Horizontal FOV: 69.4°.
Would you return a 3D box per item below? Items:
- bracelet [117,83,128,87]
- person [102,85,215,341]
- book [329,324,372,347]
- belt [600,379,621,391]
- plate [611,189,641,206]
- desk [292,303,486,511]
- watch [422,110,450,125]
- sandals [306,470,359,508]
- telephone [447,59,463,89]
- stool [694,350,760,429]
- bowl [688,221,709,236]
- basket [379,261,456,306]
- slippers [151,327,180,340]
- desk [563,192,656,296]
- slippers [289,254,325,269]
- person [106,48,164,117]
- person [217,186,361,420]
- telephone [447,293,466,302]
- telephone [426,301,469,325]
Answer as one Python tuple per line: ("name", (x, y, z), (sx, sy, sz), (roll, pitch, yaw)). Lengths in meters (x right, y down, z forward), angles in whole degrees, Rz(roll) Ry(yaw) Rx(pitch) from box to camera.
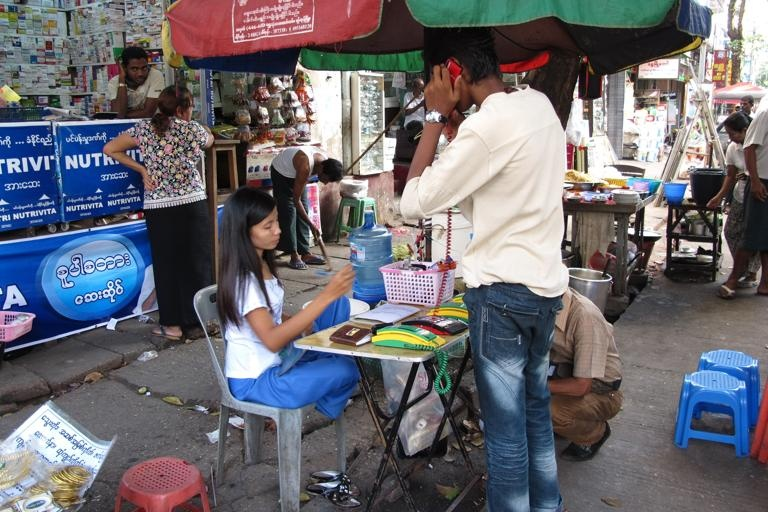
("bracelet", (-2.906, -1.904, 6.138), (0.070, 0.063, 0.067), (12, 4, 25))
("person", (-2.167, -0.406, 5.659), (0.802, 2.548, 0.574), (-7, 18, -20))
("book", (-0.174, 0.461, 3.279), (0.218, 0.055, 0.219), (8, 18, 23))
("belt", (1.674, 0.940, 4.106), (0.087, 0.056, 0.115), (1, 4, -11))
("plate", (2.971, -0.731, 6.750), (0.295, 0.151, 0.323), (14, 22, 39))
("desk", (0.039, 1.018, 3.654), (0.722, 0.962, 1.400), (-1, 3, 26))
("watch", (0.286, -0.751, 2.982), (0.099, 0.070, 0.093), (5, -6, 6))
("sandals", (-0.330, 1.571, 3.753), (0.249, 0.079, 0.201), (12, 16, 8))
("telephone", (0.376, -0.981, 2.924), (0.109, 0.106, 0.026), (23, 19, 19))
("stool", (2.809, 0.980, 4.580), (0.566, 0.496, 0.569), (5, 24, 30))
("bowl", (4.471, -0.404, 7.841), (0.245, 0.175, 0.184), (2, 2, 28))
("basket", (0.243, 0.194, 3.927), (0.433, 0.222, 0.325), (1, 7, 26))
("slippers", (-2.267, 0.761, 5.744), (0.259, 0.084, 0.143), (11, 16, 13))
("desk", (3.117, -0.466, 7.421), (0.856, 0.873, 1.515), (11, 23, 31))
("slippers", (-1.105, 0.076, 8.067), (0.434, 0.151, 0.226), (-5, 9, -37))
("person", (-2.798, -1.918, 6.214), (0.584, 0.776, 0.565), (-6, 26, -31))
("person", (-0.644, 0.358, 3.711), (0.953, 1.531, 0.798), (-2, 10, -19))
("telephone", (0.494, 0.278, 3.768), (0.097, 0.040, 0.137), (-4, 6, 8))
("telephone", (0.433, 0.354, 3.553), (0.193, 0.053, 0.149), (4, 11, 23))
